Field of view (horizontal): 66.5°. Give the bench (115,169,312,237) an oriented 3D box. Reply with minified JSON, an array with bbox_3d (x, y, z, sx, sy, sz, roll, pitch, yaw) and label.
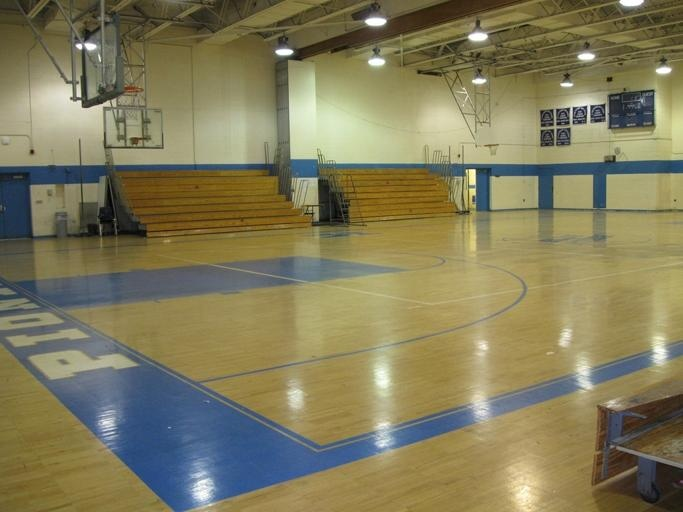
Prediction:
[{"bbox_3d":[-4.238,-1.752,16.765,5.054,1.926,2.220,-8,11,-38],"label":"bench"}]

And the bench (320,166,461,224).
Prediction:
[{"bbox_3d":[2.164,-2.450,21.086,9.588,2.118,3.161,-3,6,-34],"label":"bench"}]

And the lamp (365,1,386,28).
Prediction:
[{"bbox_3d":[0.782,-5.508,11.863,0.425,0.573,0.730,-1,9,6],"label":"lamp"}]

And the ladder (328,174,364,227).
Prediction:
[{"bbox_3d":[0.239,-2.250,19.911,1.050,1.902,1.586,-4,9,-9],"label":"ladder"}]
